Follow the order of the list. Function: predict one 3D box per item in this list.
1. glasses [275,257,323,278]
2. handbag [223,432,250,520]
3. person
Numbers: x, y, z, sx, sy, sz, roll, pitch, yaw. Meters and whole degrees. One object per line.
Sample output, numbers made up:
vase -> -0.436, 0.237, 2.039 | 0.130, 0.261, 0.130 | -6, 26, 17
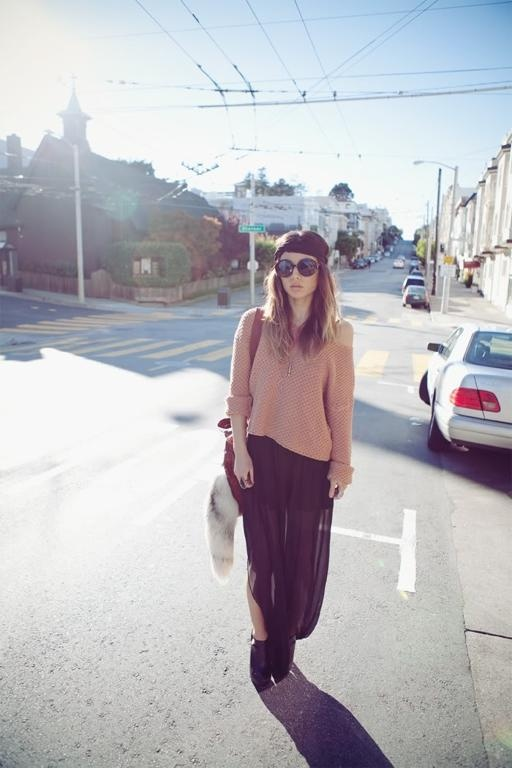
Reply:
glasses -> 0.163, -0.451, 1.981 | 0.173, 0.080, 0.059 | 2, 5, 5
handbag -> -0.081, 0.393, 2.045 | 0.073, 0.261, 0.160 | -1, -6, 35
person -> 0.098, 0.361, 2.063 | 0.564, 1.945, 0.293 | 1, 5, 7
